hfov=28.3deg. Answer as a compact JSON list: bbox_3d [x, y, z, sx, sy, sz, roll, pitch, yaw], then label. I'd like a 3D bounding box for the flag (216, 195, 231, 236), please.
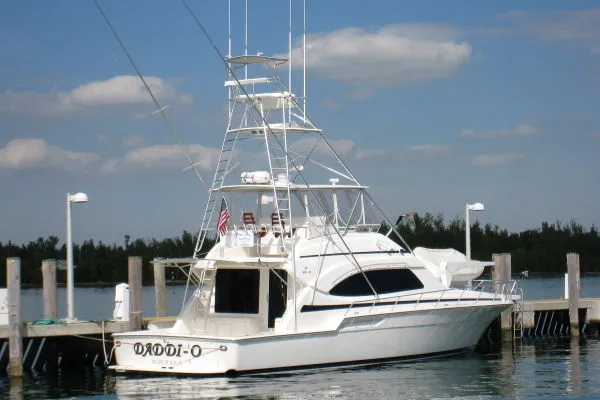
[{"bbox_3d":[-3.033,0.615,46.410,0.477,1.432,1.379,-1,3,-4],"label":"flag"}]
